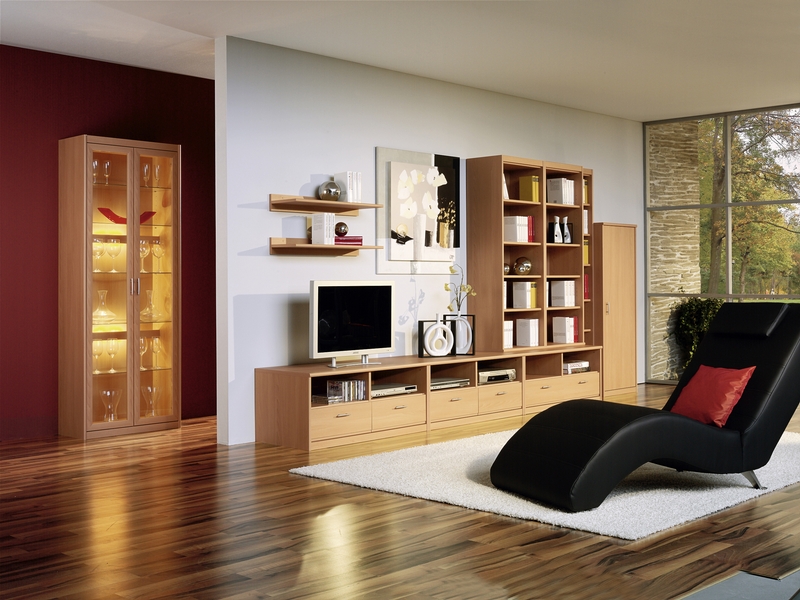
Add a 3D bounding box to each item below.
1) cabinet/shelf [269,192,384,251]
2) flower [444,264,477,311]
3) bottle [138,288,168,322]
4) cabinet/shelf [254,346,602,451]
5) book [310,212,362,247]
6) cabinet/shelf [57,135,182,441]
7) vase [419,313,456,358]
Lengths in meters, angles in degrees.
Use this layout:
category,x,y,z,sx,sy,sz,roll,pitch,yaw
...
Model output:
category,x,y,z,sx,sy,sz,roll,pitch,yaw
cabinet/shelf,-0.671,-0.722,5.557,1.092,0.507,0.360,-5,5,-42
flower,0.701,-0.131,6.649,0.342,0.566,0.439,-1,-2,7
bottle,-2.569,0.055,5.830,0.315,0.382,0.290,0,0,0
cabinet/shelf,0.661,0.935,6.327,4.257,0.712,0.636,0,1,-40
book,-0.647,-0.662,5.551,0.483,0.335,0.372,0,-3,-31
cabinet/shelf,-2.636,-0.143,5.705,0.944,2.869,0.231,1,-3,-39
vase,0.397,0.385,6.077,0.506,0.488,0.169,0,-1,-37
